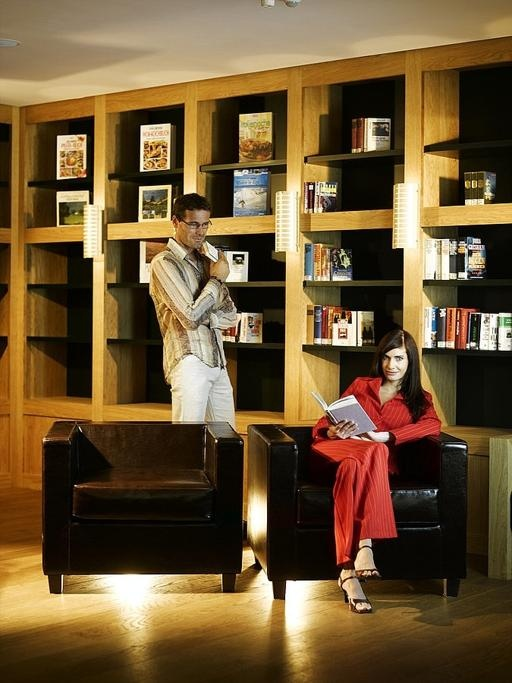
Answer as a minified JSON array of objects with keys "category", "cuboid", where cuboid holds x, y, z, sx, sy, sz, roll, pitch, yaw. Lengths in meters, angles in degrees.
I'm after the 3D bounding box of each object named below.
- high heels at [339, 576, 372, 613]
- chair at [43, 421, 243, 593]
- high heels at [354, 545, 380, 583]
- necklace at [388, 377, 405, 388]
[{"category":"high heels","cuboid":[0.352,0.932,2.196,0.066,0.085,0.210,0,-3,-19]},{"category":"chair","cuboid":[-0.478,0.580,2.603,0.761,0.628,0.736,1,-7,-5]},{"category":"high heels","cuboid":[0.397,0.788,2.108,0.075,0.131,0.098,1,-11,-2]},{"category":"necklace","cuboid":[0.633,0.187,2.639,0.039,0.036,0.051,-1,-1,21]}]
